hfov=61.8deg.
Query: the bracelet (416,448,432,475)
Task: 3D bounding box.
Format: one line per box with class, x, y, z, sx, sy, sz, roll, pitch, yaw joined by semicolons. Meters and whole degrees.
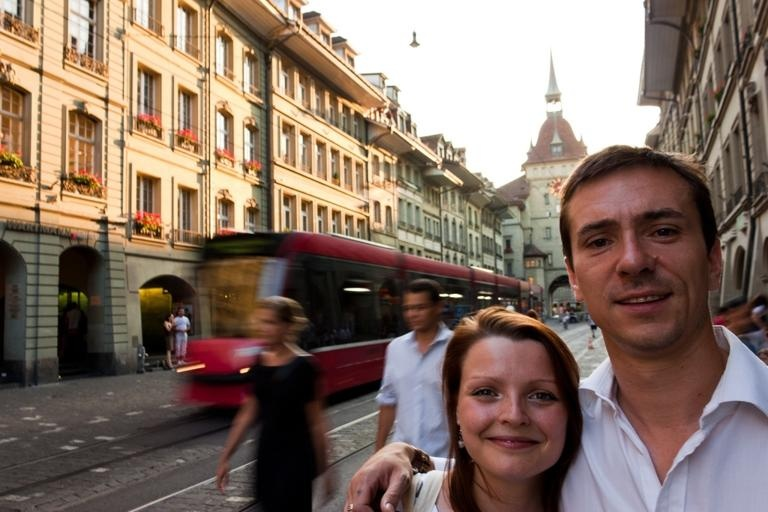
bracelet;0.201;1.083;3.383;0.079;0.093;0.103;-1;4;-24
